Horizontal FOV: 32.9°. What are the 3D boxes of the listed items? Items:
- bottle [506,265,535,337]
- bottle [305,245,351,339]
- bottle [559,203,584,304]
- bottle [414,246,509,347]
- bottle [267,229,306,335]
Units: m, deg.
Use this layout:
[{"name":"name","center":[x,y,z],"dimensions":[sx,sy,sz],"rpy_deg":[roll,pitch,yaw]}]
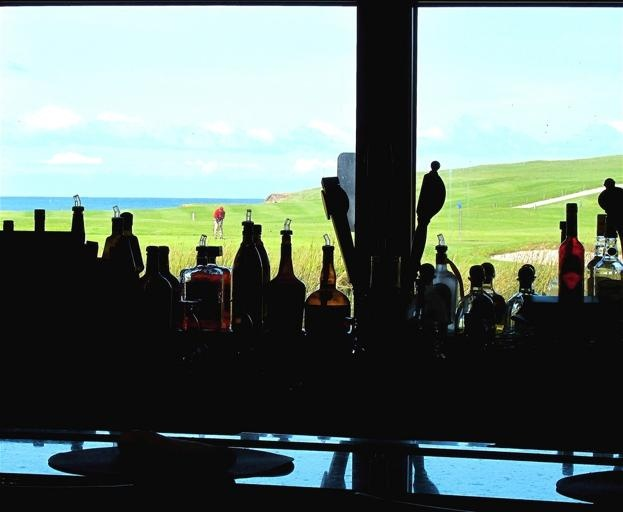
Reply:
[{"name":"bottle","center":[0.534,0.110,2.695],"dimensions":[0.068,0.164,0.232],"rpy_deg":[4,12,11]},{"name":"bottle","center":[0.041,0.086,2.578],"dimensions":[0.109,0.211,0.100],"rpy_deg":[1,12,0]},{"name":"bottle","center":[0.654,-0.017,2.651],"dimensions":[0.067,0.225,0.123],"rpy_deg":[4,12,12]},{"name":"bottle","center":[0.365,0.103,2.623],"dimensions":[0.302,0.297,0.157],"rpy_deg":[3,7,29]},{"name":"bottle","center":[-0.061,0.059,2.607],"dimensions":[0.093,0.236,0.111],"rpy_deg":[1,12,-2]}]
